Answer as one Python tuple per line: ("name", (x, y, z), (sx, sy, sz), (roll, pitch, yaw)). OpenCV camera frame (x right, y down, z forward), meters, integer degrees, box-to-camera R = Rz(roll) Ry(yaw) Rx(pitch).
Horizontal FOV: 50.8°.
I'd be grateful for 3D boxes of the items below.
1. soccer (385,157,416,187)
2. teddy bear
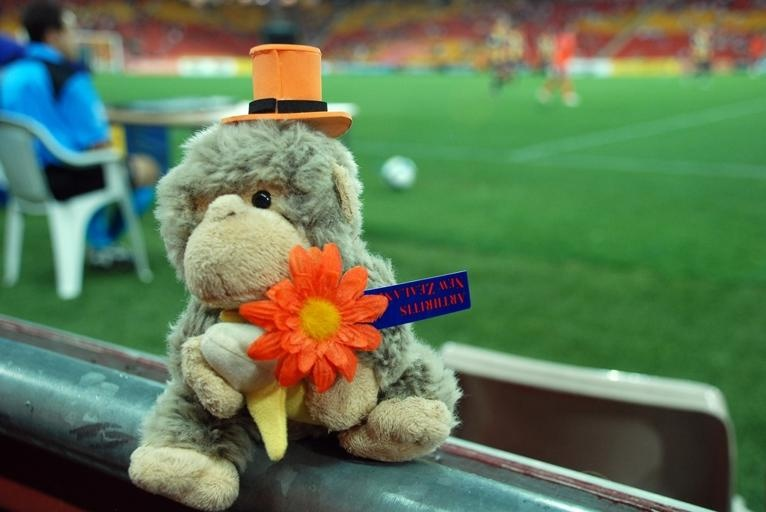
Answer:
("soccer", (0.105, -0.581, 5.507), (0.225, 0.160, 0.227), (1, -9, -5))
("teddy bear", (-0.206, 0.046, 1.571), (0.639, 0.820, 0.490), (-7, 27, -18))
